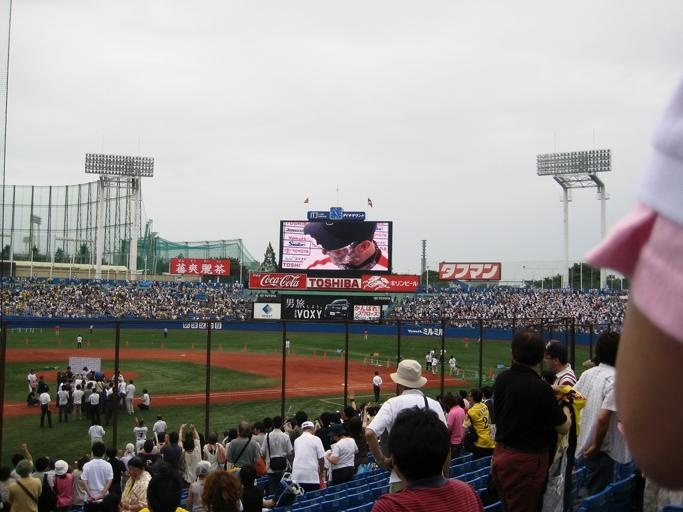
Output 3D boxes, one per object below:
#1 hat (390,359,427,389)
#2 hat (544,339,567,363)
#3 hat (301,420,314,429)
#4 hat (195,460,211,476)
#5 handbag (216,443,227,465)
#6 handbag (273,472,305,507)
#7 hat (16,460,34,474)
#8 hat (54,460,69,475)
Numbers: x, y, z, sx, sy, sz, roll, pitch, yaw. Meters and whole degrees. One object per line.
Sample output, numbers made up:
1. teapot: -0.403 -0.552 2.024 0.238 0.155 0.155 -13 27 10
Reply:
1. hat: 1.660 2.961 24.493 0.736 0.420 0.803 -1 7 -8
2. hat: 5.473 2.380 24.453 0.447 0.605 0.606 8 10 24
3. hat: -1.023 4.818 27.534 0.400 0.287 0.649 1 -12 5
4. hat: -3.793 5.788 26.211 0.398 0.516 0.513 3 8 -7
5. handbag: -3.635 5.954 28.862 0.381 0.604 0.639 3 12 0
6. handbag: -1.439 6.564 26.805 0.625 0.974 0.696 31 10 41
7. hat: -8.897 5.925 26.698 0.453 0.434 0.315 -1 -7 1
8. hat: -8.305 6.269 28.310 0.386 0.425 0.504 1 -7 -18
